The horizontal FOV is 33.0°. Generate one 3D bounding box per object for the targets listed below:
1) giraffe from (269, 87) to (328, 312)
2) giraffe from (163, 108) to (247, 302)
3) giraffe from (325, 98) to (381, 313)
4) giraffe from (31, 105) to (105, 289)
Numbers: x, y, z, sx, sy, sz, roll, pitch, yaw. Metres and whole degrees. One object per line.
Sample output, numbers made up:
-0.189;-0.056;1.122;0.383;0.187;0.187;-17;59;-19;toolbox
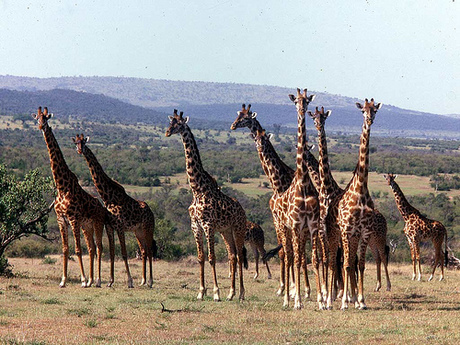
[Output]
2.352;0.995;26.695;1.315;7.431;1.996;-1;-4;-8;giraffe
-0.730;1.178;28.367;2.580;6.974;1.237;-1;-4;-7;giraffe
4.304;1.108;26.924;1.790;7.230;3.717;-2;-5;8;giraffe
-6.012;1.040;29.578;1.074;6.772;2.784;-6;-6;42;giraffe
